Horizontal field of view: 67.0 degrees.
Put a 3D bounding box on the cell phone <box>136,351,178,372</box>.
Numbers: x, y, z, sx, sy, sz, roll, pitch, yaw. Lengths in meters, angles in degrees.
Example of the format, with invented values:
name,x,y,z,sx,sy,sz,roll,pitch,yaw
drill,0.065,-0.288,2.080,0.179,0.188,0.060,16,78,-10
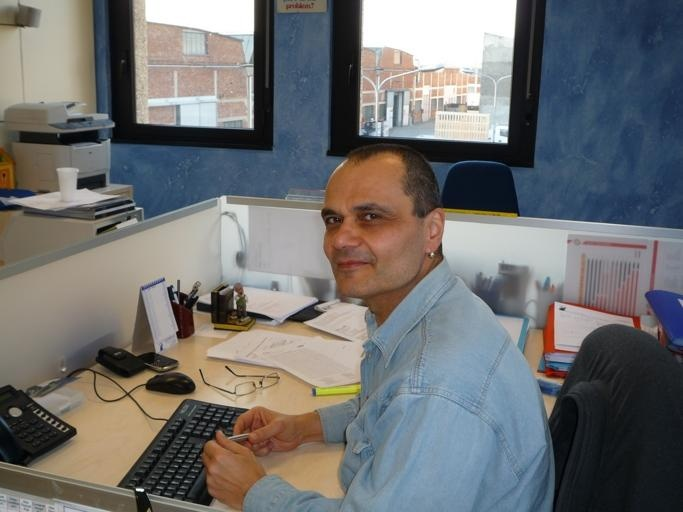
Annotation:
name,x,y,z,sx,sy,sz,roll,pitch,yaw
cell phone,-0.592,0.341,1.680,0.101,0.015,0.061,12,19,19

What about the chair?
name,x,y,z,sx,sy,sz,roll,pitch,yaw
chair,0.777,-0.391,2.981,0.388,0.501,0.562,3,13,13

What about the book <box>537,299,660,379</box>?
name,x,y,z,sx,sy,sz,roll,pitch,yaw
book,0.761,0.251,1.721,0.272,0.082,0.298,6,28,18

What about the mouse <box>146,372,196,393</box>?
name,x,y,z,sx,sy,sz,roll,pitch,yaw
mouse,-0.506,0.380,1.542,0.113,0.043,0.067,9,10,5

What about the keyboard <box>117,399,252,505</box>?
name,x,y,z,sx,sy,sz,roll,pitch,yaw
keyboard,-0.388,0.473,1.239,0.148,0.049,0.299,5,24,8

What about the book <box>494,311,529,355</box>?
name,x,y,z,sx,sy,sz,roll,pitch,yaw
book,0.609,0.274,1.854,0.124,0.033,0.133,7,24,24

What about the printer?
name,x,y,z,sx,sy,sz,roll,pitch,yaw
printer,-1.870,-0.812,3.783,0.699,0.771,0.595,10,18,21
